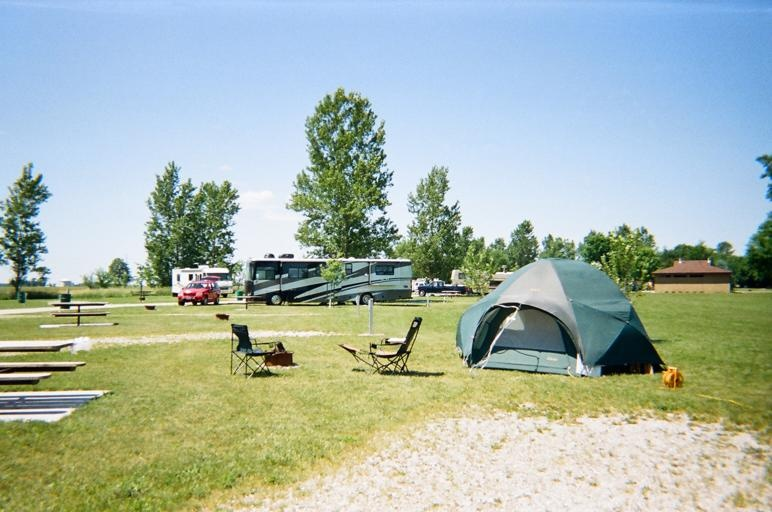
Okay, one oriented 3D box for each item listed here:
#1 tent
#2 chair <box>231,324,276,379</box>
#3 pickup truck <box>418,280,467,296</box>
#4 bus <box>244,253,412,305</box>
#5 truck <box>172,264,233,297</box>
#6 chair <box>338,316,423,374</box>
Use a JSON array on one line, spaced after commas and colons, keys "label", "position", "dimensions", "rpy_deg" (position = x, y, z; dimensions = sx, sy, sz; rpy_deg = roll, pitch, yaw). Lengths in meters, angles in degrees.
[{"label": "tent", "position": [5.015, 1.751, 19.050], "dimensions": [5.228, 3.186, 1.610], "rpy_deg": [-2, -1, 15]}, {"label": "chair", "position": [-3.834, 2.640, 18.419], "dimensions": [0.868, 1.231, 0.980], "rpy_deg": [-3, -4, 32]}, {"label": "pickup truck", "position": [5.594, 3.042, 61.990], "dimensions": [4.984, 1.440, 1.804], "rpy_deg": [3, -7, -14]}, {"label": "bus", "position": [-3.819, 1.723, 42.139], "dimensions": [11.931, 3.953, 3.852], "rpy_deg": [1, -3, -7]}, {"label": "truck", "position": [-15.307, 1.851, 52.500], "dimensions": [4.888, 2.596, 2.728], "rpy_deg": [-1, 1, 6]}, {"label": "chair", "position": [-0.210, 2.729, 18.897], "dimensions": [2.210, 1.572, 1.411], "rpy_deg": [0, -4, 10]}]
